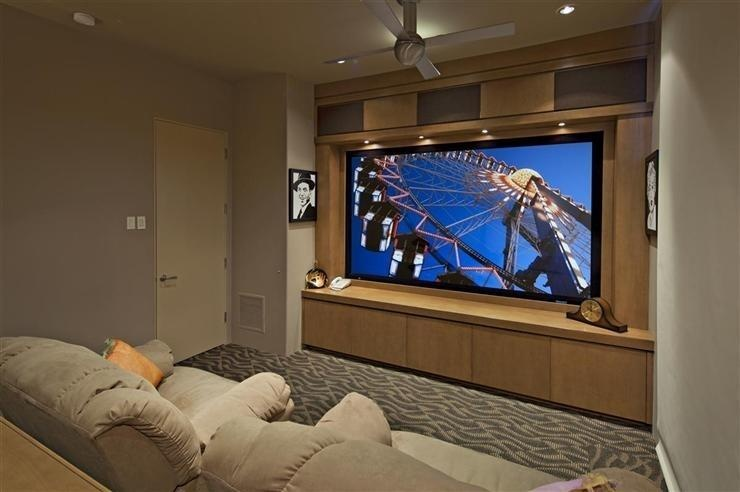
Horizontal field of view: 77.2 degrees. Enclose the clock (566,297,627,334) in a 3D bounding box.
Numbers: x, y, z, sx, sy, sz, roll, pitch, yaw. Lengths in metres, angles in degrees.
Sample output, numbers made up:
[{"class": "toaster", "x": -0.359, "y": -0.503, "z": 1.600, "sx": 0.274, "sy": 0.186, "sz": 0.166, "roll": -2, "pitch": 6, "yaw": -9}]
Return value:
[{"class": "clock", "x": 2.191, "y": 0.651, "z": 4.493, "sx": 0.195, "sy": 0.295, "sz": 0.542, "roll": -4, "pitch": 3, "yaw": -39}]
